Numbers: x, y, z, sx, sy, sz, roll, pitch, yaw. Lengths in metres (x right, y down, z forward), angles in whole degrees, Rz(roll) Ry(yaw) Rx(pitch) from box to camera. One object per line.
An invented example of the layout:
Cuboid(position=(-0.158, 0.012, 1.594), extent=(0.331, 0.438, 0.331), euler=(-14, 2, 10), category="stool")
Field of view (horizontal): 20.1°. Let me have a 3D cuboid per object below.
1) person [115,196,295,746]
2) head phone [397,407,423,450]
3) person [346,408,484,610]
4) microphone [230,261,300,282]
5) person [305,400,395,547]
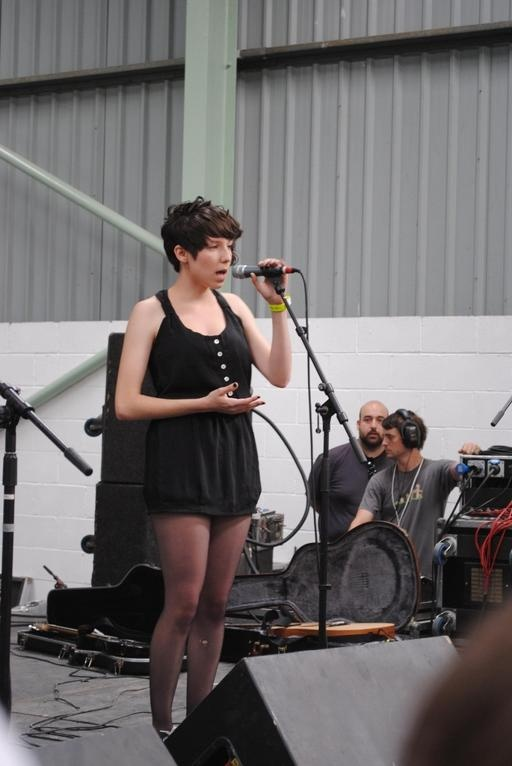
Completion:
Cuboid(position=(-0.163, 0.236, 4.419), extent=(0.537, 1.630, 0.359), euler=(2, -2, -9), category="person")
Cuboid(position=(0.652, 0.202, 6.141), extent=(0.066, 0.154, 0.162), euler=(-18, -9, -1), category="head phone")
Cuboid(position=(0.678, 0.492, 6.091), extent=(0.462, 0.758, 0.610), euler=(3, -2, -28), category="person")
Cuboid(position=(0.016, -0.357, 4.705), extent=(0.347, 0.074, 0.074), euler=(2, 14, 28), category="microphone")
Cuboid(position=(0.464, 0.541, 6.646), extent=(0.441, 0.882, 0.275), euler=(9, -30, -3), category="person")
